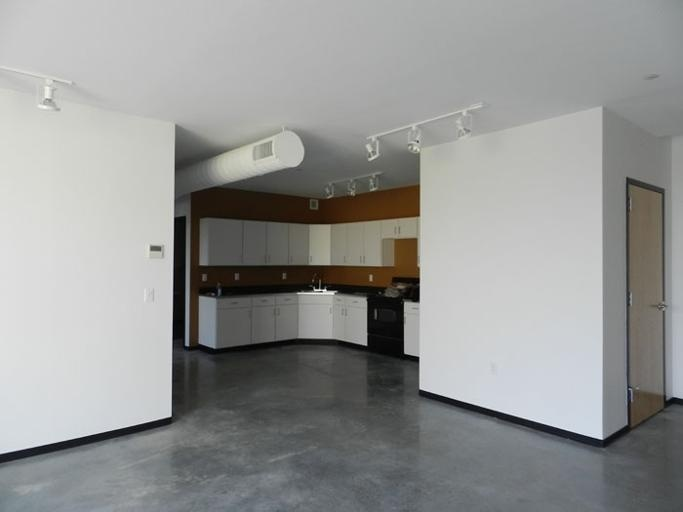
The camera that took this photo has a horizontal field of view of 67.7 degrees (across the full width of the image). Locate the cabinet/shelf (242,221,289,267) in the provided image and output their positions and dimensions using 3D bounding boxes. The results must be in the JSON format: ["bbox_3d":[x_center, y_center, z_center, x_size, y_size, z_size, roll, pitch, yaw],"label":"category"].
[{"bbox_3d":[-1.447,-0.222,9.475,0.863,0.735,0.349,0,2,-42],"label":"cabinet/shelf"}]

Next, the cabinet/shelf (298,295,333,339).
[{"bbox_3d":[-0.493,1.177,9.678,0.654,0.864,0.165,1,6,10],"label":"cabinet/shelf"}]

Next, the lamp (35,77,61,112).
[{"bbox_3d":[-2.667,-1.445,4.630,0.146,0.264,0.465,-3,6,-29],"label":"lamp"}]

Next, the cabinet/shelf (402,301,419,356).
[{"bbox_3d":[1.136,1.193,8.211,0.097,0.878,0.336,-5,7,-40],"label":"cabinet/shelf"}]

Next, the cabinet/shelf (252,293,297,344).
[{"bbox_3d":[-1.261,1.162,9.315,0.935,0.803,0.361,2,-4,-42],"label":"cabinet/shelf"}]

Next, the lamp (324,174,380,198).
[{"bbox_3d":[0.237,-1.237,8.869,0.888,0.310,2.017,-1,5,-12],"label":"lamp"}]

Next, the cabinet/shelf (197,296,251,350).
[{"bbox_3d":[-2.012,1.074,9.183,1.124,1.172,0.796,3,-5,-44],"label":"cabinet/shelf"}]

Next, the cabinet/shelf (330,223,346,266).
[{"bbox_3d":[-0.065,-0.230,9.941,0.125,0.773,0.449,-4,7,-34],"label":"cabinet/shelf"}]

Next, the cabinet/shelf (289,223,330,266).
[{"bbox_3d":[-0.645,-0.215,10.047,0.840,0.771,0.418,1,-1,-34],"label":"cabinet/shelf"}]

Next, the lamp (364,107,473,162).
[{"bbox_3d":[0.945,-1.355,5.796,1.716,0.436,0.728,5,7,43],"label":"lamp"}]

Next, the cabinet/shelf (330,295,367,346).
[{"bbox_3d":[0.161,1.198,9.313,0.432,0.894,0.919,4,-4,-36],"label":"cabinet/shelf"}]
